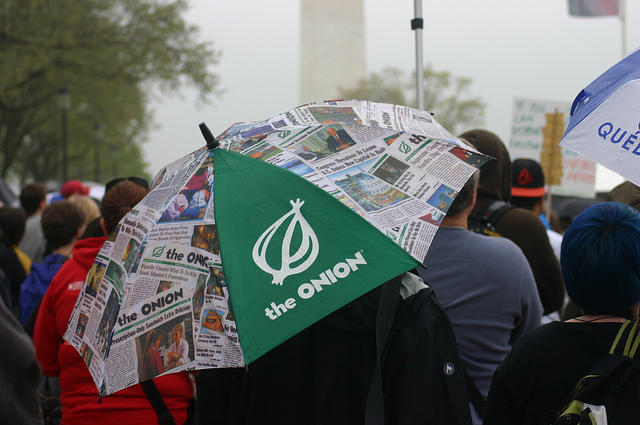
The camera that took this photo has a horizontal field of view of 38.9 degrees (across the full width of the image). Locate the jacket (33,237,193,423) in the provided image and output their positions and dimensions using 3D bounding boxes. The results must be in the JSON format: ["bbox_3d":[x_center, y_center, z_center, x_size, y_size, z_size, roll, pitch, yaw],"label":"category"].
[{"bbox_3d":[-1.260,0.743,5.602,1.039,1.084,0.629,-10,-6,11],"label":"jacket"}]

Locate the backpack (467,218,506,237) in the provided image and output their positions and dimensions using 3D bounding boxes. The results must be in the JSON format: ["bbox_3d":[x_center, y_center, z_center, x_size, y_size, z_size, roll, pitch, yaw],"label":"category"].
[{"bbox_3d":[1.224,0.077,6.673,0.169,0.087,0.227,-4,35,-28],"label":"backpack"}]

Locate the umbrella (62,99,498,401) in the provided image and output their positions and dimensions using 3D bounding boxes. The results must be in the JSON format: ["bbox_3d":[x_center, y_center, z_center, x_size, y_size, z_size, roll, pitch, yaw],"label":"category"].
[{"bbox_3d":[-0.241,0.099,5.280,1.909,0.846,1.916,-25,12,-23],"label":"umbrella"}]

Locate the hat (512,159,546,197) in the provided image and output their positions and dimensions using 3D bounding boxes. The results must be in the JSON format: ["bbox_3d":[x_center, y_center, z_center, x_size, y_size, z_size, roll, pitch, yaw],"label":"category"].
[{"bbox_3d":[1.713,-0.320,7.587,0.347,0.264,0.457,-4,20,1],"label":"hat"}]
